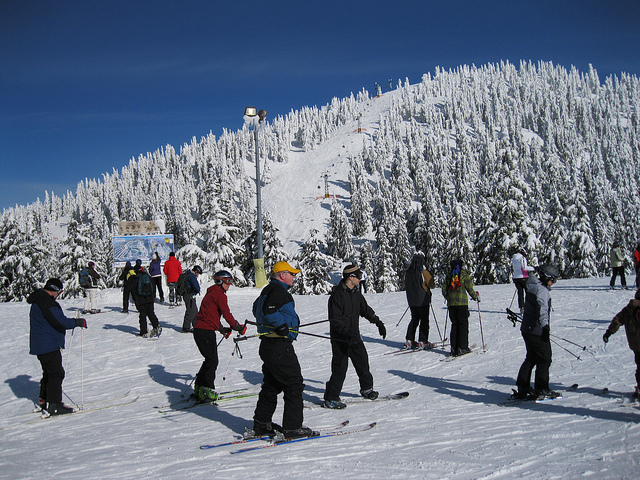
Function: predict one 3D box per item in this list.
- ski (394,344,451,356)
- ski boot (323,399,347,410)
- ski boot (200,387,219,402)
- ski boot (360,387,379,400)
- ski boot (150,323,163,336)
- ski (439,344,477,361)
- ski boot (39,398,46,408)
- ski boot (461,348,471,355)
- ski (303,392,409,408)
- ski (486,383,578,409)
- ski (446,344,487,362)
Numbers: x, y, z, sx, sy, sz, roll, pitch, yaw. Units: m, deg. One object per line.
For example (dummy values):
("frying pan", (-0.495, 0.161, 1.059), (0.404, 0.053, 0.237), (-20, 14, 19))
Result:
("ski", (3.259, 3.424, 20.970), (1.109, 0.145, 0.083), (-16, 6, -8))
("ski boot", (0.362, 4.182, 17.154), (0.555, 0.311, 0.227), (0, -3, 0))
("ski boot", (-2.942, 4.126, 17.967), (0.588, 0.330, 0.212), (3, 3, -6))
("ski boot", (1.237, 4.022, 17.414), (0.526, 0.287, 0.203), (-9, -10, 34))
("ski boot", (-6.027, 3.226, 24.380), (0.408, 0.404, 0.317), (-2, 10, 7))
("ski", (4.169, 3.382, 20.122), (0.717, 0.080, 0.080), (-36, 26, -9))
("ski boot", (-7.492, 4.371, 17.968), (0.267, 0.220, 0.101), (6, 13, 44))
("ski boot", (4.403, 3.306, 20.104), (0.351, 0.163, 0.125), (-22, 28, 8))
("ski", (1.017, 4.159, 17.437), (1.679, 0.141, 0.199), (-7, 10, 1))
("ski", (5.361, 3.892, 16.685), (1.432, 0.204, 0.079), (-20, -40, 19))
("ski", (4.391, 3.388, 20.020), (1.149, 0.167, 0.131), (-20, -10, -40))
